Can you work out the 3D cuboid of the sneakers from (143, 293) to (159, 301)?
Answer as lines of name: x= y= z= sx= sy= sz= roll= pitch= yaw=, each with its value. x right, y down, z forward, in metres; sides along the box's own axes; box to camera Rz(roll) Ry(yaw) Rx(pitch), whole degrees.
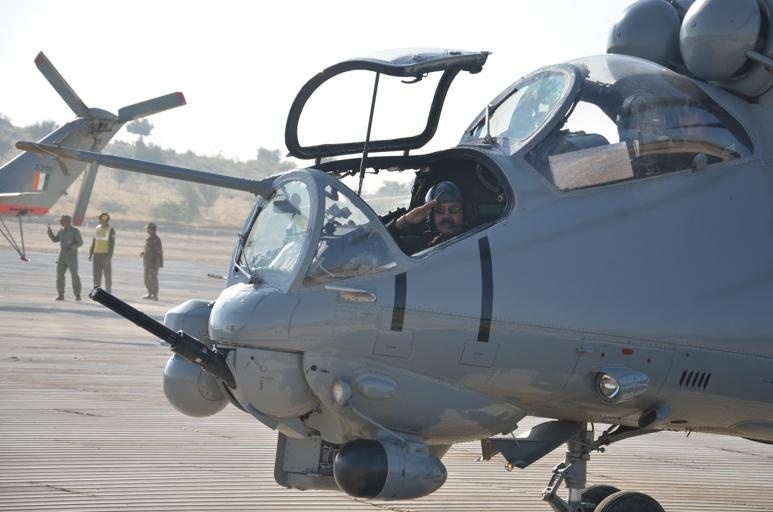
sneakers: x=-6.269 y=1.071 z=24.139 sx=0.315 sy=0.252 sz=0.153 roll=21 pitch=20 yaw=33

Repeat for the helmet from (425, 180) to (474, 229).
helmet: x=0.566 y=-0.587 z=9.040 sx=0.348 sy=0.327 sz=0.407 roll=0 pitch=-9 yaw=-15

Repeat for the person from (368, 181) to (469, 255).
person: x=0.446 y=-0.370 z=9.112 sx=0.986 sy=0.484 sz=0.673 roll=-25 pitch=7 yaw=-16
